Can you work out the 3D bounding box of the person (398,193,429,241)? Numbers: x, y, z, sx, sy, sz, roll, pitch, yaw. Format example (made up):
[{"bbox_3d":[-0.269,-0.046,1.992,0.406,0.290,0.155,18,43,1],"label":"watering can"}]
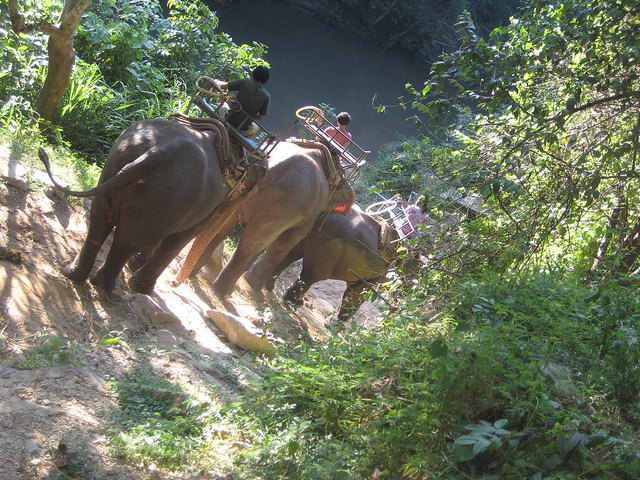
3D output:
[{"bbox_3d":[1.259,-0.312,8.162,0.210,0.714,0.713,15,-17,10],"label":"person"}]

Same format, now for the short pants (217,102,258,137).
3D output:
[{"bbox_3d":[-0.841,-1.258,6.305,0.491,0.171,0.366,34,17,-23],"label":"short pants"}]

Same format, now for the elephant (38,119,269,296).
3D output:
[{"bbox_3d":[-1.488,-0.338,6.012,0.909,1.634,2.936,32,10,9],"label":"elephant"}]
